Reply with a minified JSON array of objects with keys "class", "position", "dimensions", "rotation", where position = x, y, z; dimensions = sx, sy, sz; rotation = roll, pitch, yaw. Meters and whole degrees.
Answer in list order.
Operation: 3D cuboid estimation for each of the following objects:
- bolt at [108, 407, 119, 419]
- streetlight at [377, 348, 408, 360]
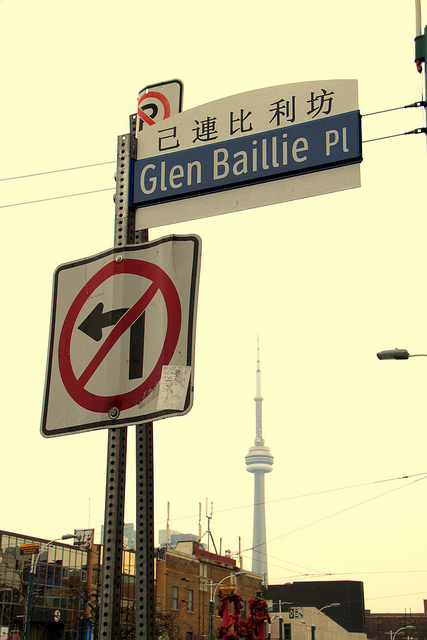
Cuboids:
[{"class":"bolt","position":[-0.657,0.610,5.801],"dimensions":[0.069,0.076,0.017],"rotation":[-4,-21,9]},{"class":"streetlight","position":[2.681,0.523,13.331],"dimensions":[0.316,0.114,0.268],"rotation":[-3,-2,0]}]
